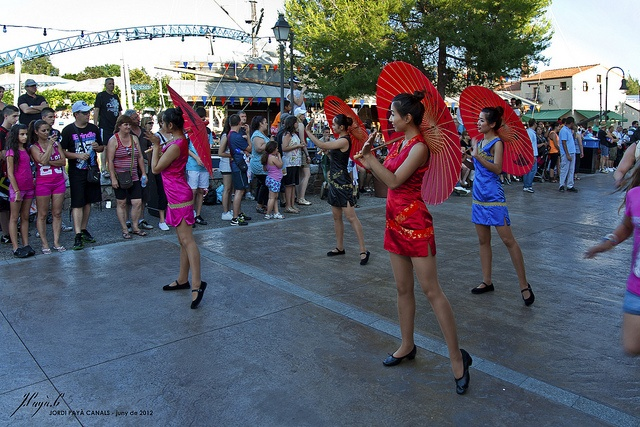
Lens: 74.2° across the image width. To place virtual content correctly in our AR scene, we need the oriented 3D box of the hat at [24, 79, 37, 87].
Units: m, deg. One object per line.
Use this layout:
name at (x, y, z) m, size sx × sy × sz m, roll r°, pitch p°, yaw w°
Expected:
hat at (-5.887, -2.647, 8.598) m, size 0.209 × 0.116 × 0.152 m, roll -3°, pitch 7°, yaw 40°

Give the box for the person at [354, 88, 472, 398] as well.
person at (0.920, 0.228, 3.982) m, size 1.024 × 2.719 × 0.656 m, roll 3°, pitch 11°, yaw 22°

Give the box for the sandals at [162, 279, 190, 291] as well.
sandals at (-1.990, 0.991, 5.879) m, size 0.354 × 0.132 × 0.140 m, roll 3°, pitch 1°, yaw -10°

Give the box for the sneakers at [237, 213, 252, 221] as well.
sneakers at (-1.681, 0.065, 9.411) m, size 0.286 × 0.117 × 0.106 m, roll 7°, pitch 9°, yaw 24°

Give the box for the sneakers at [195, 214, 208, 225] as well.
sneakers at (-2.575, 0.150, 9.171) m, size 0.120 × 0.151 × 0.369 m, roll -13°, pitch 15°, yaw -43°

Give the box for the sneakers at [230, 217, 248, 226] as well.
sneakers at (-1.729, 0.169, 9.159) m, size 0.397 × 0.174 × 0.147 m, roll 2°, pitch 9°, yaw 1°

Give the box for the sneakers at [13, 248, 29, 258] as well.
sneakers at (-4.935, 0.652, 6.971) m, size 0.265 × 0.109 × 0.105 m, roll 5°, pitch 11°, yaw 39°

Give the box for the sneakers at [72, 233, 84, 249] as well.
sneakers at (-4.282, 0.476, 7.468) m, size 0.171 × 0.276 × 0.275 m, roll -7°, pitch 12°, yaw -30°

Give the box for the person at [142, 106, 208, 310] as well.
person at (-1.834, -0.095, 5.435) m, size 0.528 × 2.495 × 0.860 m, roll -5°, pitch 11°, yaw -21°

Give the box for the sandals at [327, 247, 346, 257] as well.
sandals at (0.279, 0.659, 7.189) m, size 0.313 × 0.130 × 0.114 m, roll 2°, pitch 2°, yaw -8°

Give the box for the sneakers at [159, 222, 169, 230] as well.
sneakers at (-3.242, 0.259, 8.787) m, size 0.234 × 0.098 × 0.113 m, roll 24°, pitch 31°, yaw 36°

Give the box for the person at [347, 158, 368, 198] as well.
person at (0.844, -0.803, 9.608) m, size 0.378 × 0.430 × 1.152 m, roll -7°, pitch -4°, yaw 10°

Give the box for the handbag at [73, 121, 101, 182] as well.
handbag at (-4.229, -1.054, 7.710) m, size 0.290 × 1.026 × 0.432 m, roll -9°, pitch 13°, yaw -36°

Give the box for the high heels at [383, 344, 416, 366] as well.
high heels at (0.787, 1.438, 4.313) m, size 0.388 × 0.157 × 0.143 m, roll -2°, pitch -1°, yaw -15°

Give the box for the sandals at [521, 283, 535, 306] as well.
sandals at (2.676, 1.050, 5.412) m, size 0.085 × 0.324 × 0.112 m, roll 7°, pitch -27°, yaw -21°

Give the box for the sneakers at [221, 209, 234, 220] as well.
sneakers at (-2.166, 0.049, 9.709) m, size 0.396 × 0.176 × 0.146 m, roll 1°, pitch 10°, yaw 39°

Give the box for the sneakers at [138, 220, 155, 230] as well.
sneakers at (-3.670, 0.220, 8.892) m, size 0.361 × 0.158 × 0.145 m, roll 9°, pitch 16°, yaw 15°

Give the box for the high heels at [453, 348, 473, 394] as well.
high heels at (1.326, 1.466, 3.938) m, size 0.161 × 0.394 × 0.128 m, roll 20°, pitch -18°, yaw -12°

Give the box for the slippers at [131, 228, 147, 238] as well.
slippers at (-3.572, 0.363, 8.350) m, size 0.335 × 0.089 × 0.134 m, roll 16°, pitch 25°, yaw 18°

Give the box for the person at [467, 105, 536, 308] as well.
person at (2.370, -0.144, 5.514) m, size 0.843 × 2.481 × 0.617 m, roll 6°, pitch 13°, yaw 35°

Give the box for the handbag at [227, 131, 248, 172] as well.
handbag at (-1.839, -1.366, 9.322) m, size 0.452 × 0.893 × 0.301 m, roll 4°, pitch 12°, yaw 29°

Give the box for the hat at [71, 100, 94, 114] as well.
hat at (-4.280, -1.920, 7.627) m, size 0.288 × 0.159 × 0.203 m, roll -2°, pitch 29°, yaw -14°

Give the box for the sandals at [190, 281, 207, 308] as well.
sandals at (-1.521, 1.028, 5.395) m, size 0.143 × 0.362 × 0.131 m, roll 22°, pitch -12°, yaw -12°

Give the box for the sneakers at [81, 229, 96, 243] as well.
sneakers at (-4.190, 0.429, 7.709) m, size 0.324 × 0.152 × 0.121 m, roll 8°, pitch 10°, yaw 26°
